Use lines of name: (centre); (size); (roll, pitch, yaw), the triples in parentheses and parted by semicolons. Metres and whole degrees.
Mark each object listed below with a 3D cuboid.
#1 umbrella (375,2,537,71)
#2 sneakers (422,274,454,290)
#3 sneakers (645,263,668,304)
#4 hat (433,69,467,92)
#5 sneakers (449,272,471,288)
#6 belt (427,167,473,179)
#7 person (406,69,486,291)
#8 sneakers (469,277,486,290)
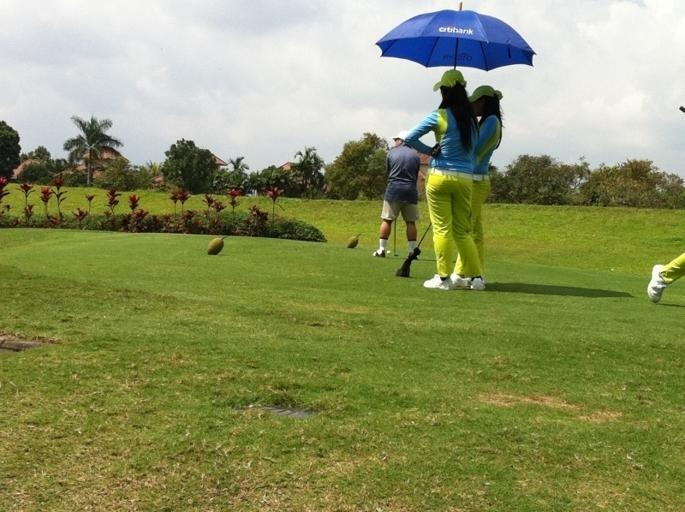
umbrella: (1.588, -3.030, 8.981); (2.126, 0.741, 1.344); (6, 9, 14)
sneakers: (1.308, 0.364, 8.743); (0.353, 0.206, 0.178); (3, 1, 17)
sneakers: (4.252, 0.316, 8.488); (0.198, 0.605, 0.255); (23, -23, -5)
hat: (1.417, -2.355, 8.446); (0.394, 0.268, 0.613); (5, 9, 9)
sneakers: (1.651, 0.361, 8.963); (0.368, 0.164, 0.136); (1, 3, -7)
belt: (1.482, -1.137, 8.765); (0.611, 0.104, 0.238); (5, 9, 4)
person: (1.472, -1.025, 8.675); (1.107, 2.934, 0.551); (5, 8, 11)
sneakers: (1.899, 0.398, 8.900); (0.193, 0.162, 0.146); (-5, -2, 31)
